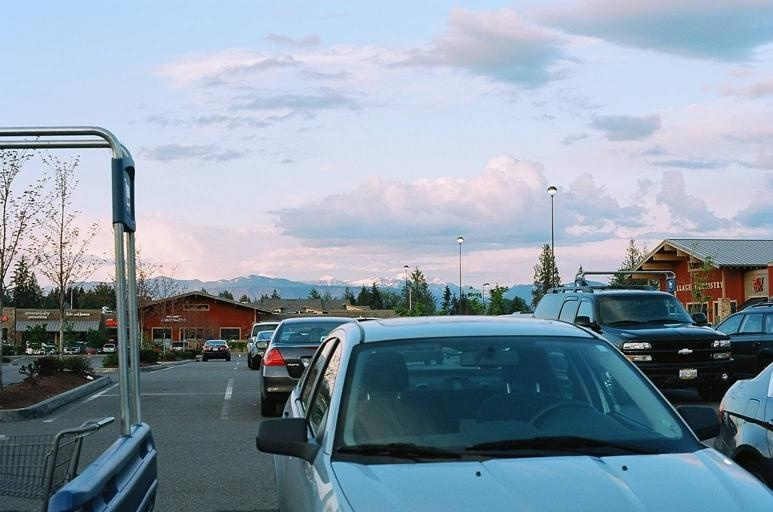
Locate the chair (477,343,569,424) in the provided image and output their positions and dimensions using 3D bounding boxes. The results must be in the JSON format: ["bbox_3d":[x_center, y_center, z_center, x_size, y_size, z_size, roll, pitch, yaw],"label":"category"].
[{"bbox_3d":[1.067,0.928,5.704,0.419,0.289,0.660,1,5,1],"label":"chair"}]
